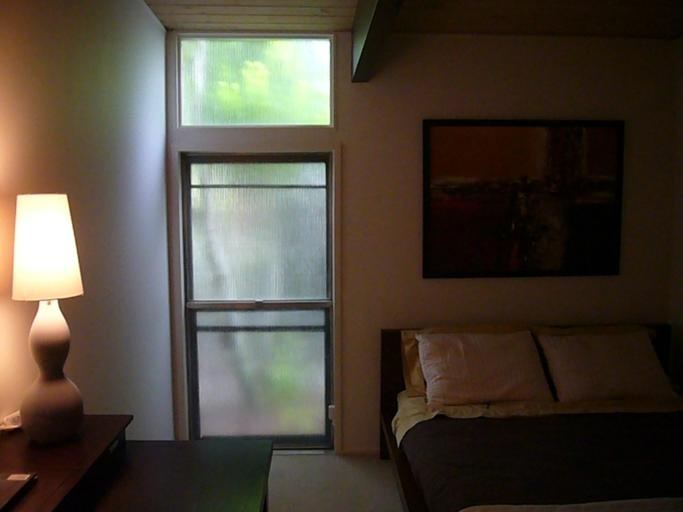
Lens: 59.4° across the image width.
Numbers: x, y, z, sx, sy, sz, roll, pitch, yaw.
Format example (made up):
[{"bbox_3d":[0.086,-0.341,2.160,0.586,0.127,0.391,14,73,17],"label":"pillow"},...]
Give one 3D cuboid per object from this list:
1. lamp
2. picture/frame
[{"bbox_3d":[-1.426,0.302,2.899,0.315,1.205,0.171,-1,6,-20],"label":"lamp"},{"bbox_3d":[1.192,-0.449,4.080,0.990,0.817,0.038,-1,4,-3],"label":"picture/frame"}]
